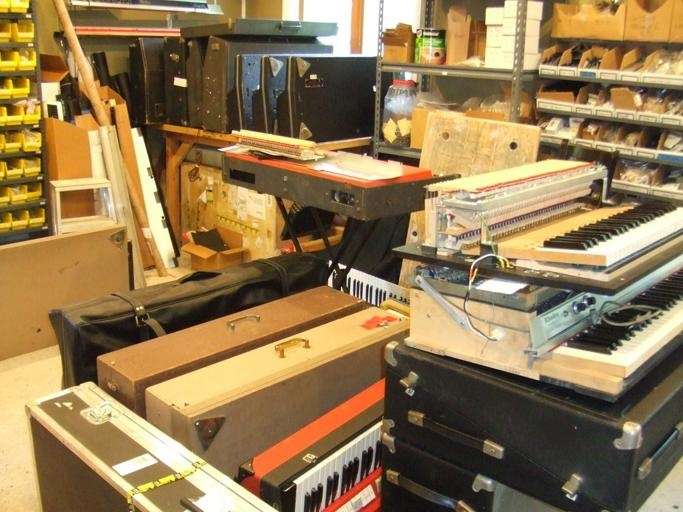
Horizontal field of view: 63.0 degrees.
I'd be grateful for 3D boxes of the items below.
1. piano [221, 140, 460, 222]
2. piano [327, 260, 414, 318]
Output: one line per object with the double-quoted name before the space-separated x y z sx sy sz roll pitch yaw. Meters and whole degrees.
"piano" -0.087 -0.295 2.290 0.928 0.164 0.348 11 24 28
"piano" 0.166 0.174 2.857 0.581 0.180 0.174 23 19 25
